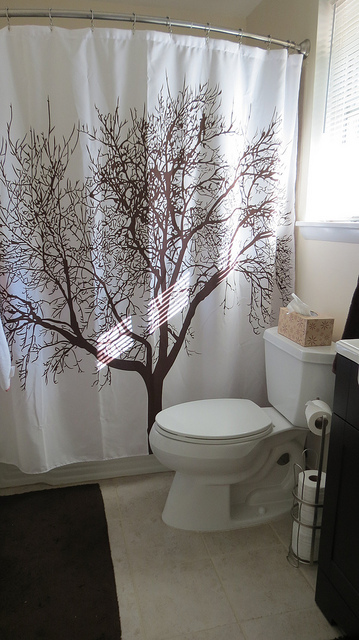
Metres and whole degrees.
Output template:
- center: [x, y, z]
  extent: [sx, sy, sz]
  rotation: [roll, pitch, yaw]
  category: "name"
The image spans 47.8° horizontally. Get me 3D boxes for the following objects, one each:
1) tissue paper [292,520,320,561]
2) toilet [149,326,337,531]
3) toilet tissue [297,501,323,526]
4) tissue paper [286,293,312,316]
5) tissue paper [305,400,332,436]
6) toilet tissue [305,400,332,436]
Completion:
- center: [0.433, 0.761, 1.456]
  extent: [0.097, 0.145, 0.116]
  rotation: [4, 12, 3]
  category: "tissue paper"
- center: [0.214, 0.383, 1.563]
  extent: [0.634, 0.817, 0.378]
  rotation: [-5, 15, -20]
  category: "toilet"
- center: [0.439, 0.669, 1.379]
  extent: [0.074, 0.101, 0.083]
  rotation: [3, 2, 9]
  category: "toilet tissue"
- center: [0.456, -0.058, 1.568]
  extent: [0.072, 0.081, 0.136]
  rotation: [0, 8, -1]
  category: "tissue paper"
- center: [0.456, 0.323, 1.345]
  extent: [0.073, 0.124, 0.098]
  rotation: [-4, 6, 12]
  category: "tissue paper"
- center: [0.456, 0.324, 1.345]
  extent: [0.073, 0.124, 0.099]
  rotation: [0, 11, 7]
  category: "toilet tissue"
